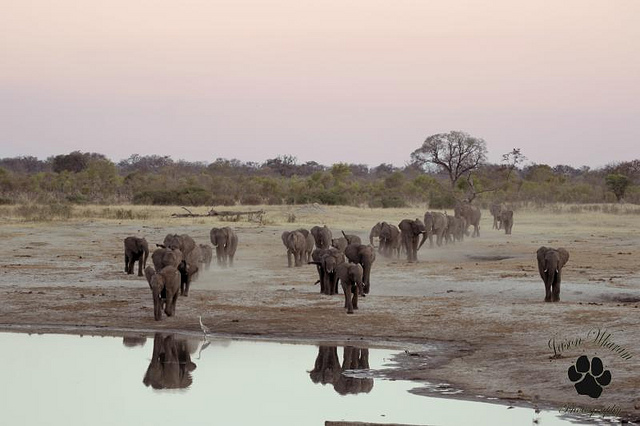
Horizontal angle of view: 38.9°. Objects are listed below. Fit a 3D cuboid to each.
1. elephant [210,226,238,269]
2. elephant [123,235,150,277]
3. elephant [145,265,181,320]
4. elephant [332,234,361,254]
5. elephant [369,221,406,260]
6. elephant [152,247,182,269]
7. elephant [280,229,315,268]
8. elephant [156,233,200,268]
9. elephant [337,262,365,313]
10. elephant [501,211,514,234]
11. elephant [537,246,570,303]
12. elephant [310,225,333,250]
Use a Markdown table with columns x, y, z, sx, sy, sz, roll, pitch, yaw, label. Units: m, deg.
| x | y | z | sx | sy | sz | roll | pitch | yaw | label |
| --- | --- | --- | --- | --- | --- | --- | --- | --- | --- |
| -4.014 | 1.234 | 37.607 | 1.084 | 1.396 | 2.123 | -4 | 2 | -1 | elephant |
| -6.910 | 1.622 | 34.387 | 0.963 | 1.389 | 1.952 | 5 | 0 | -31 | elephant |
| -4.855 | 2.409 | 27.929 | 0.642 | 1.476 | 1.093 | 7 | 13 | 34 | elephant |
| 0.911 | 1.129 | 35.092 | 0.512 | 0.642 | 1.145 | -9 | -7 | 43 | elephant |
| 3.150 | 1.166 | 40.802 | 2.419 | 1.342 | 0.744 | 6 | -4 | -37 | elephant |
| -4.911 | 1.450 | 29.850 | 0.633 | 0.614 | 1.057 | 1 | -6 | -20 | elephant |
| -1.075 | 1.433 | 37.667 | 1.146 | 1.452 | 2.569 | 1 | -1 | 6 | elephant |
| -5.233 | 1.407 | 33.579 | 1.100 | 1.327 | 2.189 | 2 | -1 | 2 | elephant |
| 1.003 | 2.399 | 29.228 | 0.924 | 1.528 | 1.805 | -2 | -1 | -11 | elephant |
| 10.924 | 0.492 | 52.728 | 0.568 | 1.309 | 0.911 | 2 | 11 | 11 | elephant |
| 7.824 | 2.004 | 30.465 | 0.976 | 1.865 | 2.435 | -1 | -4 | 12 | elephant |
| 0.071 | 1.024 | 38.083 | 0.952 | 1.087 | 1.709 | -3 | 6 | -13 | elephant |
